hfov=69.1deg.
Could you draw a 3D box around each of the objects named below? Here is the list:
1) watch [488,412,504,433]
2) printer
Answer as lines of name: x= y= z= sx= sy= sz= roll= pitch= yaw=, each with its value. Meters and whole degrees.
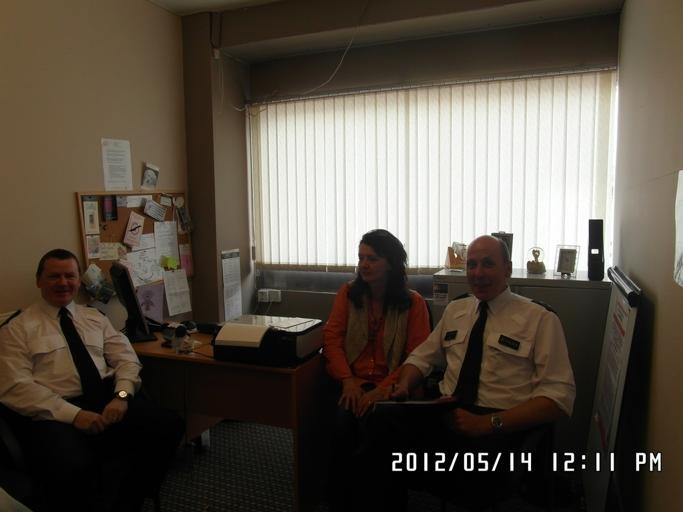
watch: x=0.746 y=0.797 z=2.370 sx=0.046 sy=0.078 sz=0.070 roll=-1 pitch=-15 yaw=-1
printer: x=-0.454 y=0.510 z=3.101 sx=0.634 sy=0.215 sz=0.368 roll=1 pitch=8 yaw=16
